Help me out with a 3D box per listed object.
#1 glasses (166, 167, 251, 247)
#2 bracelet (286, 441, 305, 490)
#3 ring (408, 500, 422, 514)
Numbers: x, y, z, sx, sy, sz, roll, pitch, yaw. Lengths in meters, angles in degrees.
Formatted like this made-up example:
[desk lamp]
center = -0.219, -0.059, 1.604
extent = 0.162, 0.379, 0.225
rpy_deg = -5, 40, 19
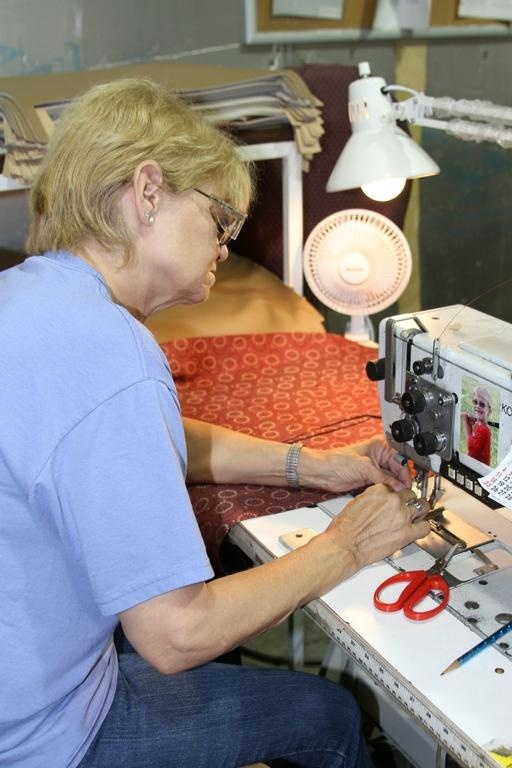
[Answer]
[glasses]
center = -0.067, -0.248, 0.937
extent = 0.037, 0.115, 0.119
rpy_deg = -40, 32, -7
[bracelet]
center = 0.071, 0.157, 1.244
extent = 0.026, 0.078, 0.083
rpy_deg = 2, -1, 12
[ring]
center = 0.248, 0.195, 1.054
extent = 0.021, 0.018, 0.019
rpy_deg = -3, 10, 16
